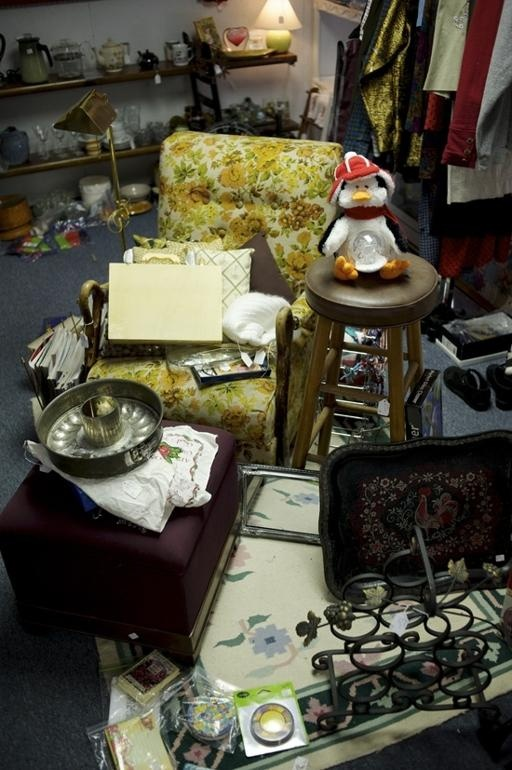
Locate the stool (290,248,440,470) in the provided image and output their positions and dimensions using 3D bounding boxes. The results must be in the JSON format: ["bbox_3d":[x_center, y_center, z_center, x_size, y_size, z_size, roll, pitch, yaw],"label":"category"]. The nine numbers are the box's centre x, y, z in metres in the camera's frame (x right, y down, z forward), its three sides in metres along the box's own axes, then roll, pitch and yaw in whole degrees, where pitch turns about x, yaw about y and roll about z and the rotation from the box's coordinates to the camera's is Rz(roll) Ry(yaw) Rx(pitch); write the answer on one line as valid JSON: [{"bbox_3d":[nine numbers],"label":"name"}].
[{"bbox_3d":[0.290,-0.042,1.517,0.229,0.420,0.238,14,-1,9],"label":"stool"}]

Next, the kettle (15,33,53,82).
[{"bbox_3d":[-1.330,-1.973,3.409,0.197,0.243,0.139,-3,44,-6],"label":"kettle"}]

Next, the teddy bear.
[{"bbox_3d":[0.284,-0.426,1.431,0.232,0.268,0.188,10,37,15],"label":"teddy bear"}]

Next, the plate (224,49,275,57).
[{"bbox_3d":[-0.040,-2.214,3.751,0.185,0.043,0.129,-11,37,-16],"label":"plate"}]

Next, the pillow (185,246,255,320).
[{"bbox_3d":[-0.141,-0.369,1.883,0.266,0.105,0.284,12,36,7],"label":"pillow"}]

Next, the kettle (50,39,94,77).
[{"bbox_3d":[-1.154,-2.052,3.571,0.225,0.246,0.286,-11,36,-23],"label":"kettle"}]

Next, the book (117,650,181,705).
[{"bbox_3d":[-0.236,0.649,1.247,0.069,0.022,0.096,24,38,33],"label":"book"}]

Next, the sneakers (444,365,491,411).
[{"bbox_3d":[0.813,-0.004,2.203,0.101,0.090,0.217,-14,36,-8],"label":"sneakers"}]
